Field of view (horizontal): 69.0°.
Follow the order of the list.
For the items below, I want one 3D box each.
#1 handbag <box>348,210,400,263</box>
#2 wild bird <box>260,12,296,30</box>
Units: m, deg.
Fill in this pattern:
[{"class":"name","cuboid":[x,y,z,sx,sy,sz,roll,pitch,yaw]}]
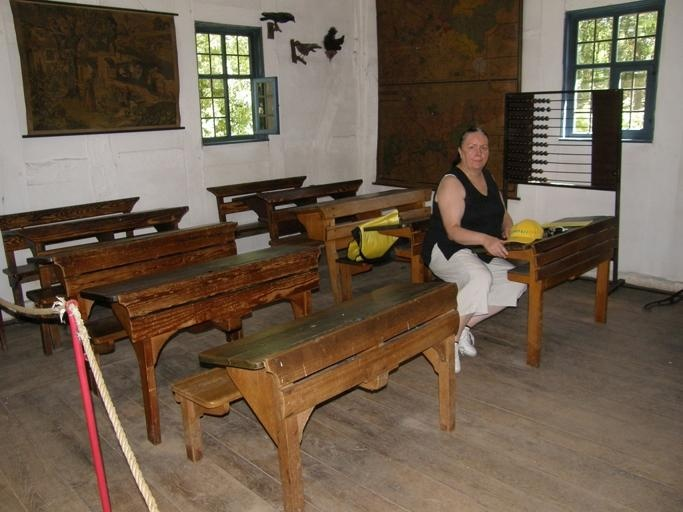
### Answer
[{"class":"handbag","cuboid":[0.293,-0.162,5.097,0.457,0.562,0.201,-23,39,-30]},{"class":"wild bird","cuboid":[-0.938,-3.562,7.446,0.547,0.202,0.193,8,1,-1]}]
